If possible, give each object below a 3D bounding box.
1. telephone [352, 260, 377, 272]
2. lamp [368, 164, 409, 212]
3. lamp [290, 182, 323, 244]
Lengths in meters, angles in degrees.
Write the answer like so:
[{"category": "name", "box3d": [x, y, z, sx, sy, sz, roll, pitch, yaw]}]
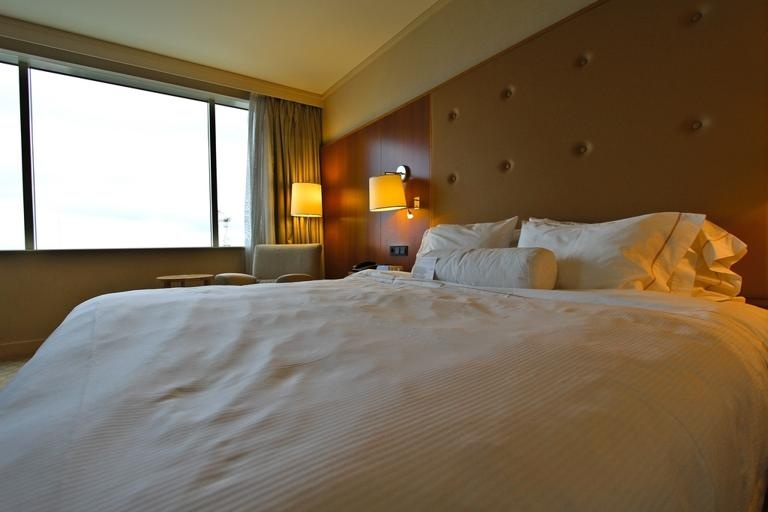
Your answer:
[{"category": "telephone", "box3d": [-0.190, 0.099, 4.065, 0.150, 0.058, 0.126, -27, 4, -6]}, {"category": "lamp", "box3d": [0.041, -0.598, 3.874, 0.321, 0.407, 0.385, -2, 5, 4]}, {"category": "lamp", "box3d": [-0.883, -0.353, 4.923, 0.363, 0.855, 0.320, 2, 4, 1]}]
